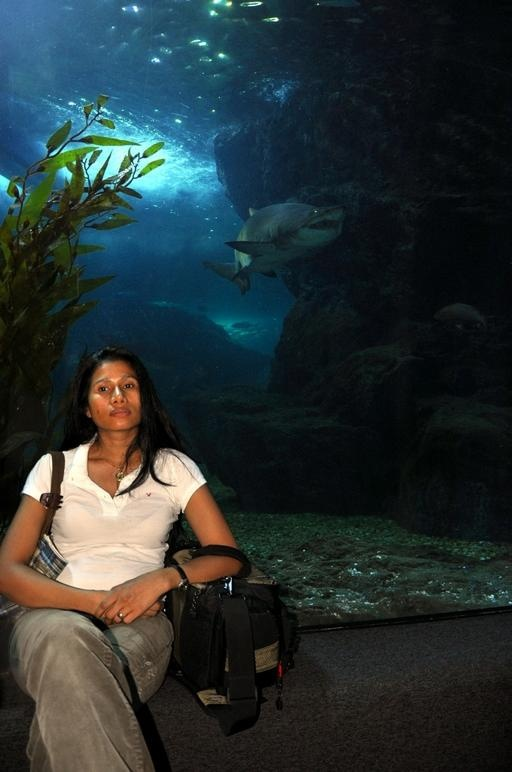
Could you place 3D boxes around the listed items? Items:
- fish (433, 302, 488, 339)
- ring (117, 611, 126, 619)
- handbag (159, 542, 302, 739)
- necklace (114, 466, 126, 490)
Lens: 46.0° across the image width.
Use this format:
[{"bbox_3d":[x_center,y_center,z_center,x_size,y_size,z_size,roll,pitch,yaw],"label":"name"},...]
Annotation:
[{"bbox_3d":[2.754,-0.894,8.285,0.715,0.443,0.741,0,9,-5],"label":"fish"},{"bbox_3d":[-0.357,0.607,1.601,0.019,0.004,0.019,1,12,0],"label":"ring"},{"bbox_3d":[-0.087,0.746,1.711,0.384,0.403,0.313,-1,-5,2],"label":"handbag"},{"bbox_3d":[-0.414,0.277,1.844,0.037,0.045,0.016,3,-2,-43],"label":"necklace"}]
